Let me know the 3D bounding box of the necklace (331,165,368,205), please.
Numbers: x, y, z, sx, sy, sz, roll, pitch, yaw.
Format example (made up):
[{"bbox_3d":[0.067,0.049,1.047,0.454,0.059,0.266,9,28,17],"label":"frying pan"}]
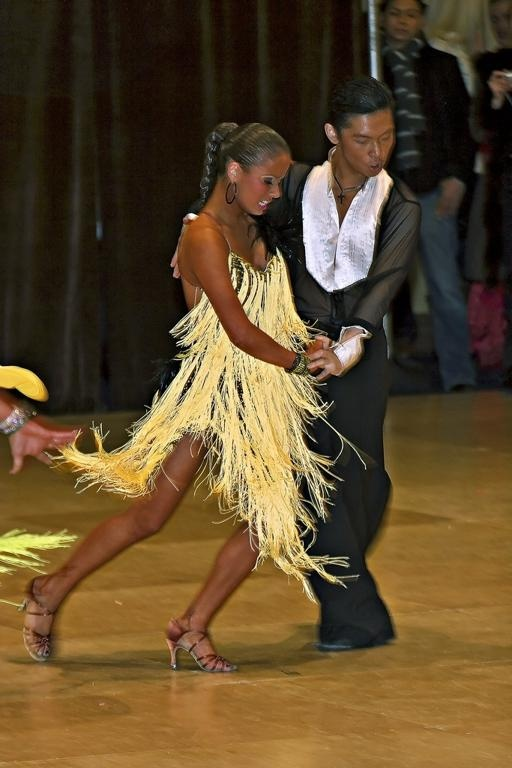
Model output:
[{"bbox_3d":[0.178,-0.390,1.419,0.062,0.015,0.056,14,-34,9],"label":"necklace"}]

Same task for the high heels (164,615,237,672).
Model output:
[{"bbox_3d":[-0.106,0.498,1.398,0.173,0.114,0.060,5,-5,12],"label":"high heels"}]

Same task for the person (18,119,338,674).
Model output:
[{"bbox_3d":[-0.140,0.018,1.425,0.606,1.056,0.347,-1,6,6],"label":"person"}]

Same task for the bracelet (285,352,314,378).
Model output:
[{"bbox_3d":[0.077,-0.036,1.283,0.036,0.039,0.045,-10,-3,-4],"label":"bracelet"}]

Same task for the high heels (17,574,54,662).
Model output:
[{"bbox_3d":[-0.422,0.459,1.402,0.057,0.142,0.039,4,-16,-31],"label":"high heels"}]
